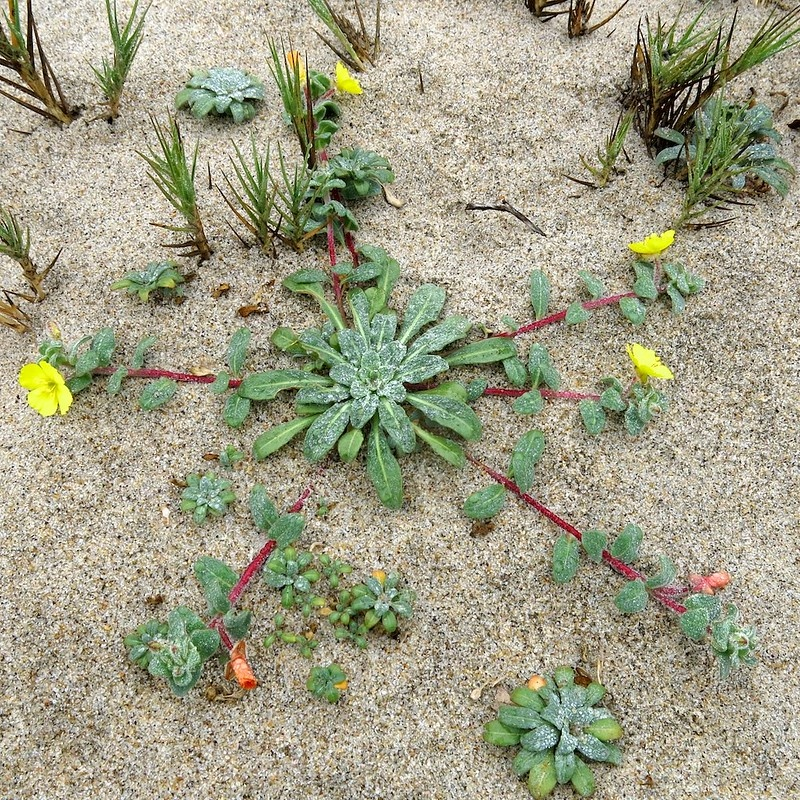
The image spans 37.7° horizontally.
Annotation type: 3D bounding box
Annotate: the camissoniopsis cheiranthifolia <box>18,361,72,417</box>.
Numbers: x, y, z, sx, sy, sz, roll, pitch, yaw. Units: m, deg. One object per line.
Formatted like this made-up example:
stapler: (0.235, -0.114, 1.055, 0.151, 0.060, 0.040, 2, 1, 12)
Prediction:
camissoniopsis cheiranthifolia: (-1.348, -0.041, 4.483, 0.172, 0.189, 0.186, -21, 55, -20)

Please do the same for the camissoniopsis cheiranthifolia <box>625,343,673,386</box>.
camissoniopsis cheiranthifolia: (0.942, -0.163, 4.452, 0.138, 0.080, 0.170, 15, 34, -33)

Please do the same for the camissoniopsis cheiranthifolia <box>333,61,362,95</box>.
camissoniopsis cheiranthifolia: (-0.230, -1.353, 5.038, 0.111, 0.073, 0.173, 16, 92, -11)
